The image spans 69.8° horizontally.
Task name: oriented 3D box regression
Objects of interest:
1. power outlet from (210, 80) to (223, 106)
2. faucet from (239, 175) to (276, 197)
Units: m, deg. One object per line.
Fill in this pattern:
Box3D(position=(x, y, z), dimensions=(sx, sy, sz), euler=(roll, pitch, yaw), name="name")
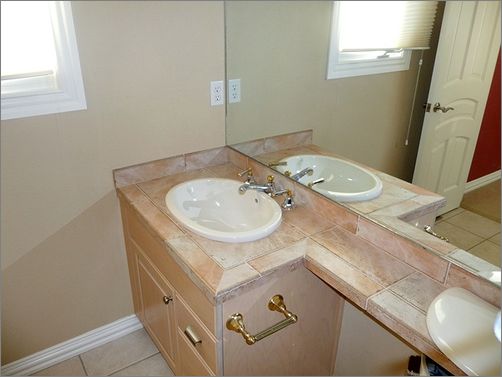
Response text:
Box3D(position=(-0.205, -0.560, 2.092), dimensions=(0.104, 0.154, 0.024), euler=(-16, 34, -30), name="power outlet")
Box3D(position=(0.034, -0.014, 1.828), dimensions=(0.170, 0.090, 0.091), euler=(-6, 43, -30), name="faucet")
